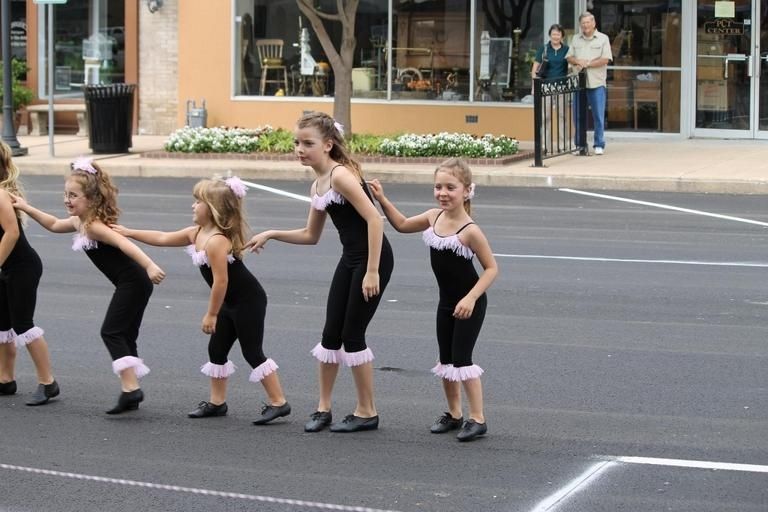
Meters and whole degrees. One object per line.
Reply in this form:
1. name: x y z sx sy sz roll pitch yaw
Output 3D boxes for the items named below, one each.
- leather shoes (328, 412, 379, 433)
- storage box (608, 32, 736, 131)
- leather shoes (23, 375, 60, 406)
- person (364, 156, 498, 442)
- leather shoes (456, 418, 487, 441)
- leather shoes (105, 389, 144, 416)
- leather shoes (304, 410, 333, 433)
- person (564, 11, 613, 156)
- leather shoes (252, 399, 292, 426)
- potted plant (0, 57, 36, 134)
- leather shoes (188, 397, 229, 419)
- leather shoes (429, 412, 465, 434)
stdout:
1. leather shoes: -0.221 1.202 7.080 0.359 0.107 0.124 -1 0 -5
2. storage box: 6.251 -3.799 20.873 2.395 1.891 0.804 2 2 18
3. leather shoes: -2.632 1.044 7.442 0.111 0.117 0.299 0 9 38
4. person: 0.462 0.288 7.029 0.433 1.956 0.761 -8 10 -41
5. leather shoes: 0.619 1.227 6.872 0.267 0.119 0.100 -2 -3 -41
6. leather shoes: -1.971 1.093 7.293 0.363 0.151 0.119 -7 -8 2
7. leather shoes: -0.475 1.190 7.076 0.105 0.075 0.223 2 4 30
8. person: 3.927 -3.291 18.789 0.823 2.678 0.776 1 8 11
9. leather shoes: -0.813 1.149 7.207 0.333 0.127 0.116 -18 8 -10
10. potted plant: -9.265 -4.078 24.637 0.762 1.930 2.569 -4 8 -19
11. leather shoes: -1.298 1.145 7.249 0.306 0.107 0.106 1 -4 -8
12. leather shoes: 0.451 1.209 7.087 0.244 0.101 0.118 0 4 -32
